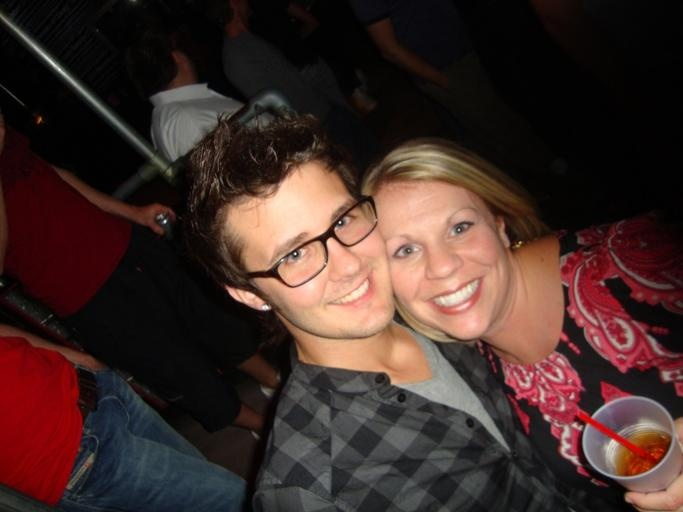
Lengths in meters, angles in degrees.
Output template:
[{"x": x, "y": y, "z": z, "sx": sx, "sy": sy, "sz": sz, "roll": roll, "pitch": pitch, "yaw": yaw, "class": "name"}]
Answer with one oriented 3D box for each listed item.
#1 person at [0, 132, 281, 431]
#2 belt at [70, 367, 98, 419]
[{"x": -1.156, "y": 0.187, "z": 2.862, "sx": 0.627, "sy": 2.212, "sz": 0.703, "roll": -15, "pitch": 43, "yaw": 42, "class": "person"}, {"x": -1.325, "y": 0.711, "z": 2.653, "sx": 0.201, "sy": 0.199, "sz": 0.188, "roll": -1, "pitch": 25, "yaw": -28, "class": "belt"}]
